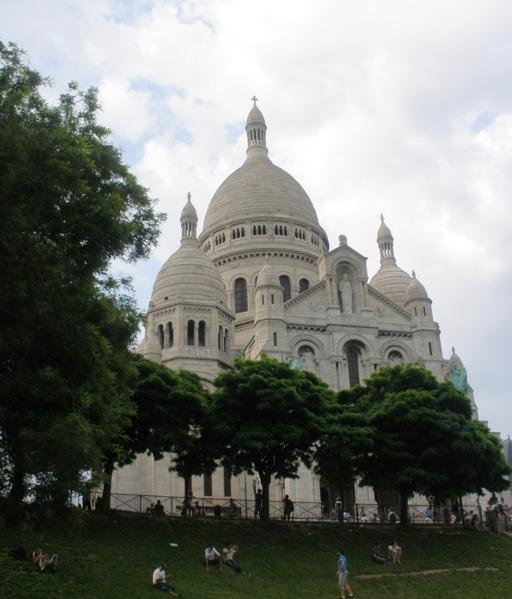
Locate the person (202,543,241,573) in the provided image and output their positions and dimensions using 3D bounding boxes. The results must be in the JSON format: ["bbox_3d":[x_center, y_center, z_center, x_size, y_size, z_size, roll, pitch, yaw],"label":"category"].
[{"bbox_3d":[-1.208,9.173,26.956,0.934,0.643,1.240,11,-15,-42],"label":"person"}]

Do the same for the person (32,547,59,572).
[{"bbox_3d":[-6.450,7.908,22.960,0.810,0.400,0.549,6,-6,11],"label":"person"}]
